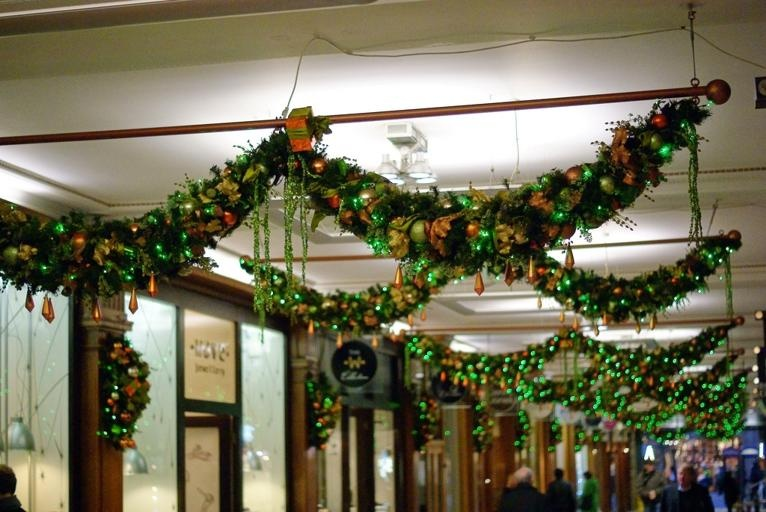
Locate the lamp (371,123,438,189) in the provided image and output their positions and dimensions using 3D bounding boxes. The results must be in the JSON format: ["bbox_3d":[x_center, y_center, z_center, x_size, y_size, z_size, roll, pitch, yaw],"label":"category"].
[{"bbox_3d":[0.186,-0.968,11.502,0.581,0.486,0.698,-2,-3,7],"label":"lamp"}]
